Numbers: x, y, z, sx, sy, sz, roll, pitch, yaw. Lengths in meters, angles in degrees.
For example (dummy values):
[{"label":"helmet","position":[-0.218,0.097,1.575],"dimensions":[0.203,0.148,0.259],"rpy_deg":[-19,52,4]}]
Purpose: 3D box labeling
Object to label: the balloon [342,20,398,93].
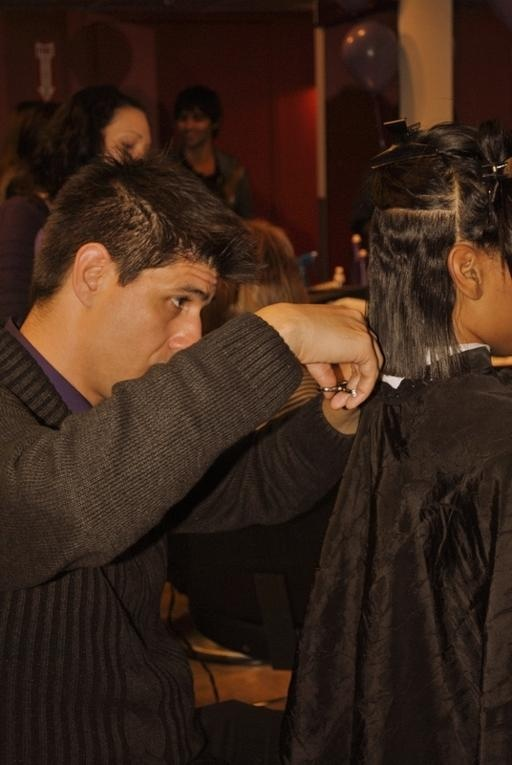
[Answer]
[{"label":"balloon","position":[0.480,-1.374,3.154],"dimensions":[0.169,0.214,0.321],"rpy_deg":[4,11,34]}]
